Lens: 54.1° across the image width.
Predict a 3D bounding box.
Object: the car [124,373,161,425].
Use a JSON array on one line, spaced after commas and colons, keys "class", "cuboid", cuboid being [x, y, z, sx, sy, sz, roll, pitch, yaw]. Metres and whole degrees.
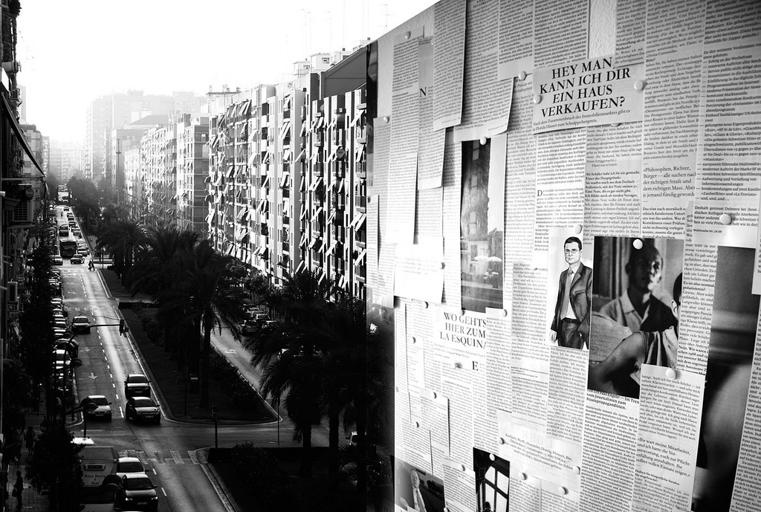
[{"class": "car", "cuboid": [-7.672, 4.641, 23.819, 0.830, 0.826, 2.091, 2, 3, -16]}]
